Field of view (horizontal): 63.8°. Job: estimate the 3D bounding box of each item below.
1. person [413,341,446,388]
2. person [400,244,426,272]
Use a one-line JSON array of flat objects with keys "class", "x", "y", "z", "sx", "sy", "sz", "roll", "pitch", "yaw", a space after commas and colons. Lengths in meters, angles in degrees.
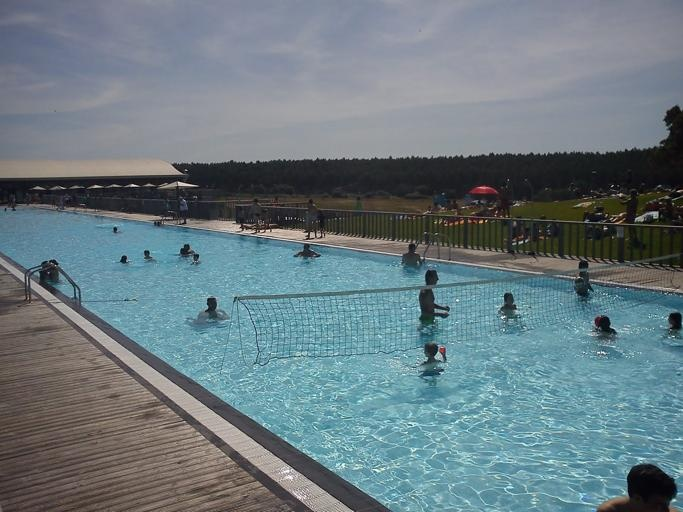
[{"class": "person", "x": 1.645, "y": 1.891, "z": 9.817, "sx": 0.506, "sy": 0.460, "sz": 0.805, "roll": 0, "pitch": 12, "yaw": 7}, {"class": "person", "x": 2.410, "y": -0.046, "z": 18.217, "sx": 0.758, "sy": 0.834, "sz": 0.916, "roll": 1, "pitch": 14, "yaw": 10}]
